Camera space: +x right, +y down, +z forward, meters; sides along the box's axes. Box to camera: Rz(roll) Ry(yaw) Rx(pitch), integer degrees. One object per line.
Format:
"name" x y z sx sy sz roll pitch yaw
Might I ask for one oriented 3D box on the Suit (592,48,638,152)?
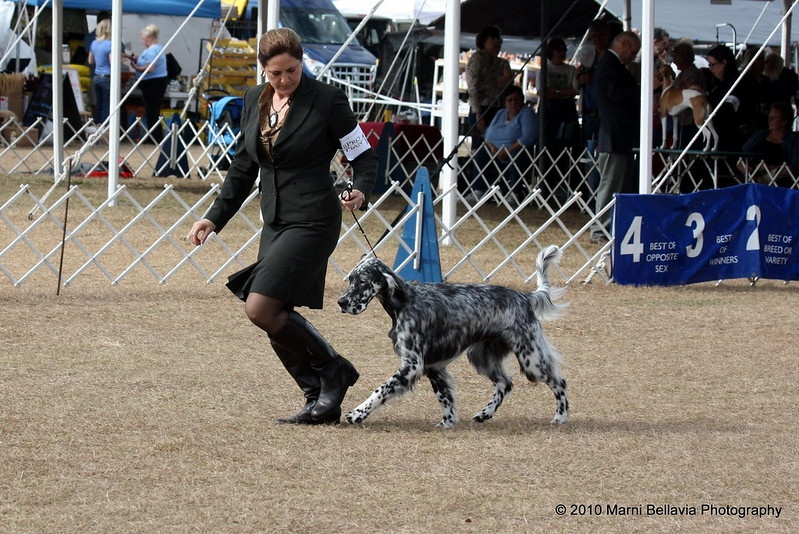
"Suit" 2.603 -1.928 14.670 0.530 1.155 0.515 5 12 -1

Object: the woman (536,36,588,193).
"woman" 2.399 -2.490 18.794 0.615 2.032 0.445 3 44 4

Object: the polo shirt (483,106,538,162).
"polo shirt" 1.691 -2.028 18.191 0.878 0.676 0.482 4 -4 43

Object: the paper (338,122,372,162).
"paper" -0.336 -0.929 9.637 0.043 0.268 0.305 -8 19 46

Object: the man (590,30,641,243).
"man" 2.719 -1.557 14.859 0.792 2.451 0.819 4 6 24

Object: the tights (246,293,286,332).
"tights" -1.022 0.349 9.568 0.312 0.313 0.082 3 12 -10

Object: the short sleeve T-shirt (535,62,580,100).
"short sleeve T-shirt" 2.423 -2.726 18.460 0.536 0.520 0.178 -5 8 -15

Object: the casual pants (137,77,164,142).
"casual pants" -4.148 -2.509 20.594 0.382 1.298 0.468 3 -1 -26

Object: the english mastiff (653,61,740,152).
"english mastiff" 3.845 -2.049 16.256 0.310 0.987 1.517 -3 14 -32
